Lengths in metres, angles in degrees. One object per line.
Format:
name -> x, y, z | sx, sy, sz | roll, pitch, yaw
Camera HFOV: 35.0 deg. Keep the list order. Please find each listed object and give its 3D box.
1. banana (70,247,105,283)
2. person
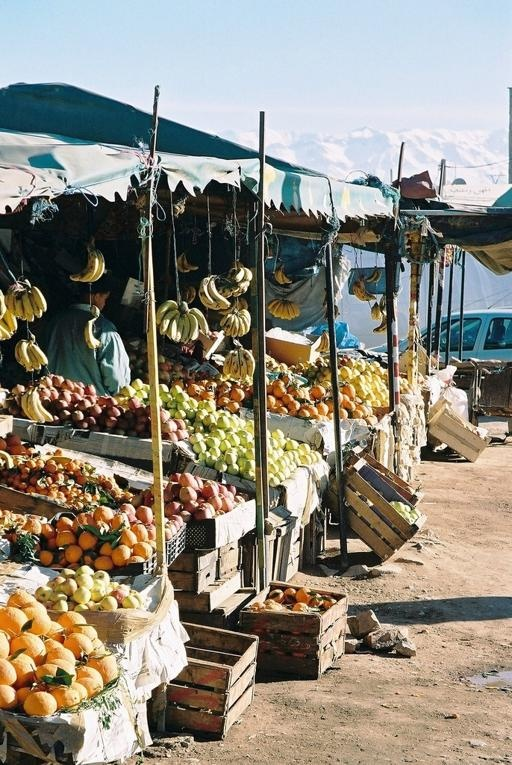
banana -> -0.944, -0.668, 4.575 | 0.140, 0.197, 0.300 | -1, 5, -16
person -> -1.384, -0.417, 7.073 | 0.710, 1.041, 0.618 | 13, 24, 36
